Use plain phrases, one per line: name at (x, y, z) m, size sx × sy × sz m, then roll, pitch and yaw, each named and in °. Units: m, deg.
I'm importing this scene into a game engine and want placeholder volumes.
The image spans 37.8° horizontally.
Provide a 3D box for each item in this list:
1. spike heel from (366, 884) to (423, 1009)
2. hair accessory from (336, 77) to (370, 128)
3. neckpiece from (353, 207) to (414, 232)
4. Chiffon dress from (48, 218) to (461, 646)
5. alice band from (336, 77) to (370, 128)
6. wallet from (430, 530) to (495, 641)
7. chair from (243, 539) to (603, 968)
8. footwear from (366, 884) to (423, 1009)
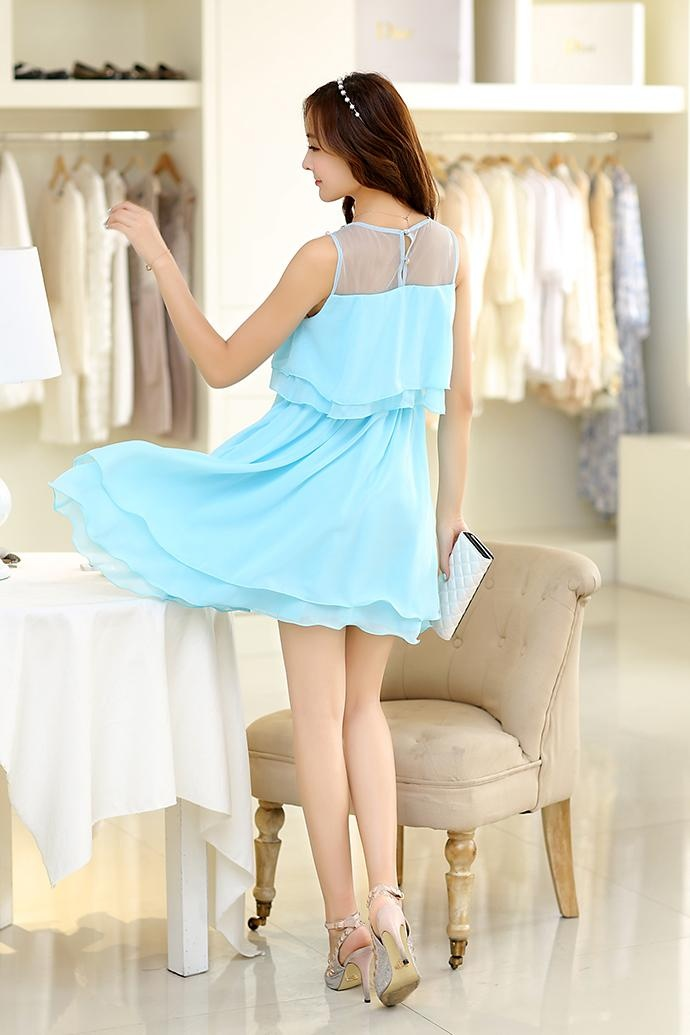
spike heel at (0.059, 0.543, 1.242) m, size 0.054 × 0.161 × 0.110 m, roll 0°, pitch -2°, yaw -8°
hair accessory at (0.006, -0.508, 1.232) m, size 0.013 × 0.051 × 0.046 m, roll -23°, pitch -5°, yaw 33°
neckpiece at (0.053, -0.377, 1.281) m, size 0.083 × 0.031 × 0.052 m, roll 0°, pitch -2°, yaw 4°
Chiffon dress at (-0.114, -0.108, 1.337) m, size 0.521 × 0.550 × 0.212 m, roll -1°, pitch -2°, yaw 10°
alice band at (0.006, -0.507, 1.231) m, size 0.013 × 0.051 × 0.046 m, roll -23°, pitch -5°, yaw 33°
wallet at (0.163, 0.087, 1.418) m, size 0.039 × 0.140 × 0.103 m, roll 7°, pitch 40°, yaw -25°
chair at (0.095, 0.294, 1.830) m, size 0.591 × 0.696 × 0.679 m, roll 5°, pitch -5°, yaw -43°
footwear at (0.059, 0.518, 1.241) m, size 0.056 × 0.153 × 0.061 m, roll -7°, pitch 19°, yaw -17°
